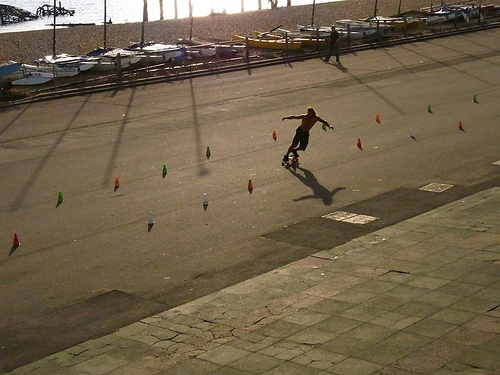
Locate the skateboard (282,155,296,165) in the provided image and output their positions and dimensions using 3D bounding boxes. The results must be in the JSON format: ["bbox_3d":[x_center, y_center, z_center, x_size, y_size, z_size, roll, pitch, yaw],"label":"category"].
[{"bbox_3d":[1.487,-0.958,17.552,0.393,0.165,0.488,14,21,35],"label":"skateboard"}]
